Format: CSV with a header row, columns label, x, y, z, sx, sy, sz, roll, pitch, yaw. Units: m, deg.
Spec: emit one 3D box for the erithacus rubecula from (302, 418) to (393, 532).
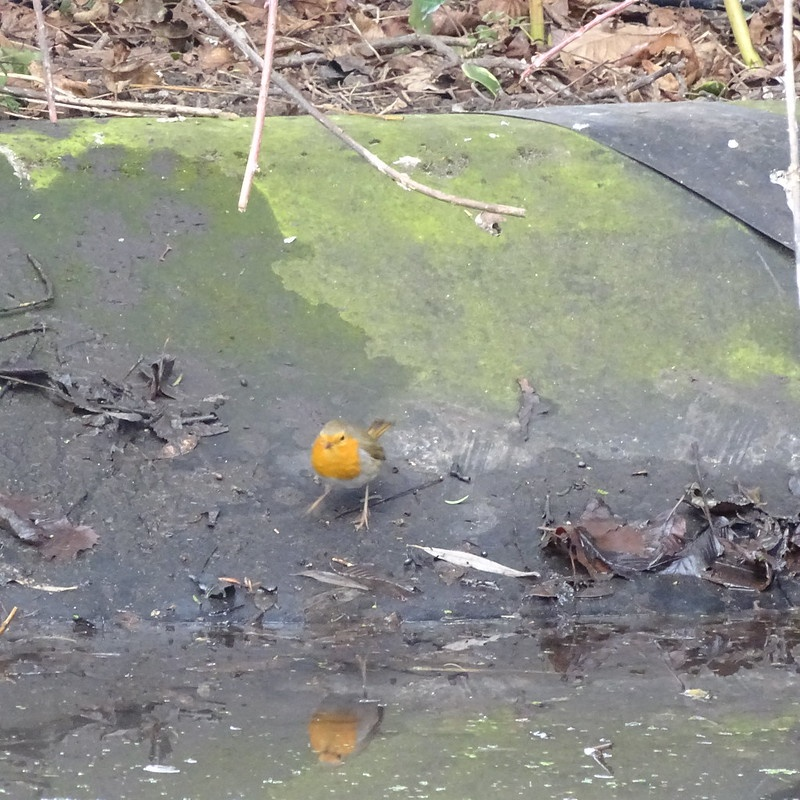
label,x,y,z,sx,sy,sz,roll,pitch,yaw
erithacus rubecula,-0.232,0.217,4.578,0.327,0.361,0.537,1,22,7
